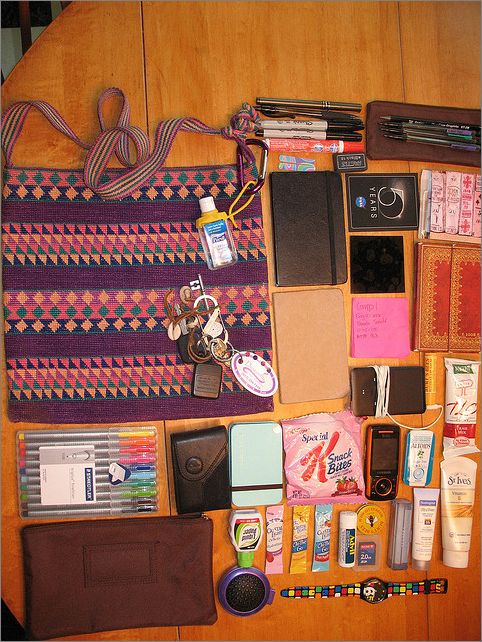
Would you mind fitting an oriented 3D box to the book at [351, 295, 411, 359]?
[{"bbox_3d":[0.308,0.014,1.317,0.127,0.135,0.030,1,-3,-5],"label":"book"}]

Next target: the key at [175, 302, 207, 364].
[{"bbox_3d":[-0.106,0.024,1.204,0.060,0.124,0.017,-12,-2,-3],"label":"key"}]

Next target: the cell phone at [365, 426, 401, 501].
[{"bbox_3d":[0.314,0.314,1.285,0.075,0.178,0.027,-1,11,-4],"label":"cell phone"}]

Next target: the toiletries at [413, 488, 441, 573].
[{"bbox_3d":[0.402,0.461,1.291,0.059,0.179,0.040,5,2,-2],"label":"toiletries"}]

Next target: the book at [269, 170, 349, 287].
[{"bbox_3d":[0.145,-0.201,1.242,0.154,0.213,0.014,-4,-2,-10],"label":"book"}]

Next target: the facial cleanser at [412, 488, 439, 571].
[{"bbox_3d":[0.404,0.461,1.295,0.073,0.195,0.045,2,11,-3],"label":"facial cleanser"}]

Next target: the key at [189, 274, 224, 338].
[{"bbox_3d":[-0.070,-0.027,1.218,0.050,0.144,0.013,-7,-22,-13],"label":"key"}]

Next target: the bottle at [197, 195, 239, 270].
[{"bbox_3d":[-0.052,-0.179,1.201,0.074,0.153,0.041,-14,9,-2],"label":"bottle"}]
